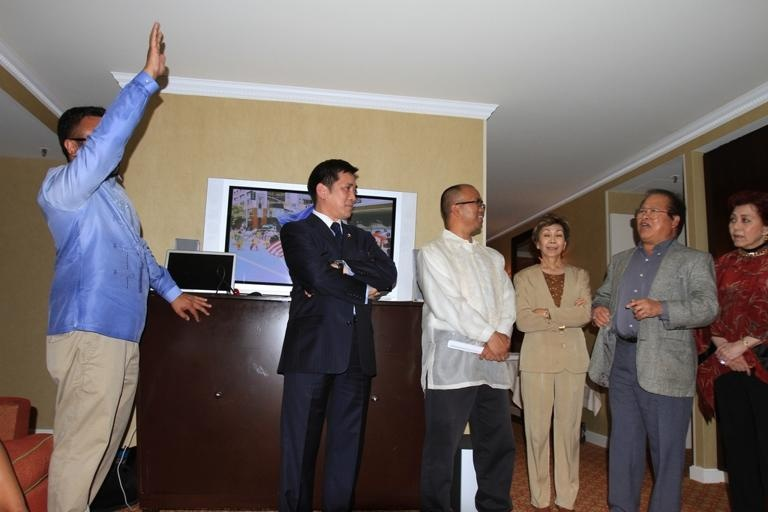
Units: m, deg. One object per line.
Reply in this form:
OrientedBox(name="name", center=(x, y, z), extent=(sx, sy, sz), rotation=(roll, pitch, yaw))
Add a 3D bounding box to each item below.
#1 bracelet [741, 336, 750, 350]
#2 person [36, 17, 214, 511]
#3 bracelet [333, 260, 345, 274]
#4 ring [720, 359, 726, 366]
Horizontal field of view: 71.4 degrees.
OrientedBox(name="bracelet", center=(2.528, 0.608, 3.719), extent=(0.031, 0.074, 0.055), rotation=(-11, -24, 34))
OrientedBox(name="person", center=(-1.664, 0.045, 3.072), extent=(0.661, 2.792, 0.424), rotation=(2, -6, -21))
OrientedBox(name="bracelet", center=(-0.292, 0.072, 3.422), extent=(0.057, 0.046, 0.081), rotation=(22, -24, 6))
OrientedBox(name="ring", center=(2.405, 0.755, 3.783), extent=(0.013, 0.047, 0.046), rotation=(4, -28, 9))
